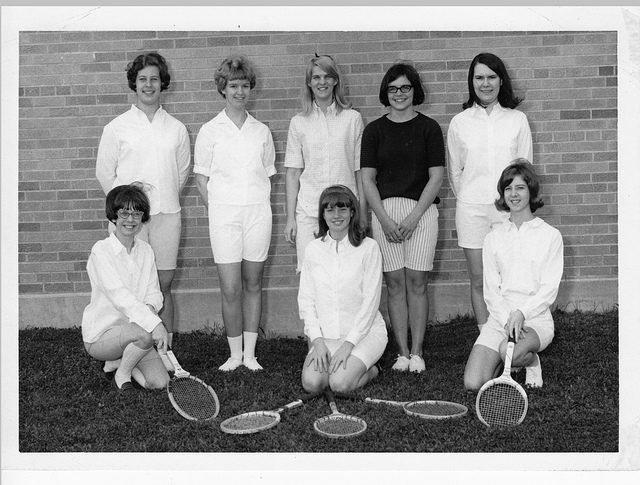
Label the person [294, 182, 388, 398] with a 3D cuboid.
[{"bbox_3d":[0.172,0.349,5.687,0.761,1.556,0.671,-5,11,-20],"label":"person"}]

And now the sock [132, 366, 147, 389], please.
[{"bbox_3d":[-1.457,1.079,5.775,0.108,0.143,0.058,-29,3,19],"label":"sock"}]

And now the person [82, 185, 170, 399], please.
[{"bbox_3d":[-1.531,0.358,5.704,0.562,1.584,0.868,-10,14,-42],"label":"person"}]

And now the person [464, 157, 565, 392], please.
[{"bbox_3d":[1.520,0.253,5.557,0.598,1.726,0.685,5,12,26],"label":"person"}]

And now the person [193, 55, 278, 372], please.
[{"bbox_3d":[-0.699,-0.231,6.023,0.682,2.561,0.597,-2,11,-8],"label":"person"}]

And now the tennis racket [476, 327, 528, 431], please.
[{"bbox_3d":[1.351,0.949,5.199,0.361,0.066,0.875,7,53,18],"label":"tennis racket"}]

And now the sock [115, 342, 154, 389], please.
[{"bbox_3d":[-1.473,0.964,5.699,0.356,0.318,0.113,-40,-3,26],"label":"sock"}]

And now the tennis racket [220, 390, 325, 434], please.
[{"bbox_3d":[-0.414,1.159,5.134,0.223,0.040,0.565,6,13,40],"label":"tennis racket"}]

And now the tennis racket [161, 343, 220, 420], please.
[{"bbox_3d":[-0.944,1.037,5.192,0.424,0.472,0.155,3,11,20],"label":"tennis racket"}]

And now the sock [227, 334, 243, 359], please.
[{"bbox_3d":[-0.713,0.882,6.078,0.112,0.212,0.069,-4,11,-19],"label":"sock"}]

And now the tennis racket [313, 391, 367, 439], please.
[{"bbox_3d":[0.087,1.236,5.064,0.353,0.191,0.472,-7,12,-34],"label":"tennis racket"}]

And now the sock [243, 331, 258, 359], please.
[{"bbox_3d":[-0.599,0.860,6.112,0.115,0.237,0.161,-2,11,-9],"label":"sock"}]
